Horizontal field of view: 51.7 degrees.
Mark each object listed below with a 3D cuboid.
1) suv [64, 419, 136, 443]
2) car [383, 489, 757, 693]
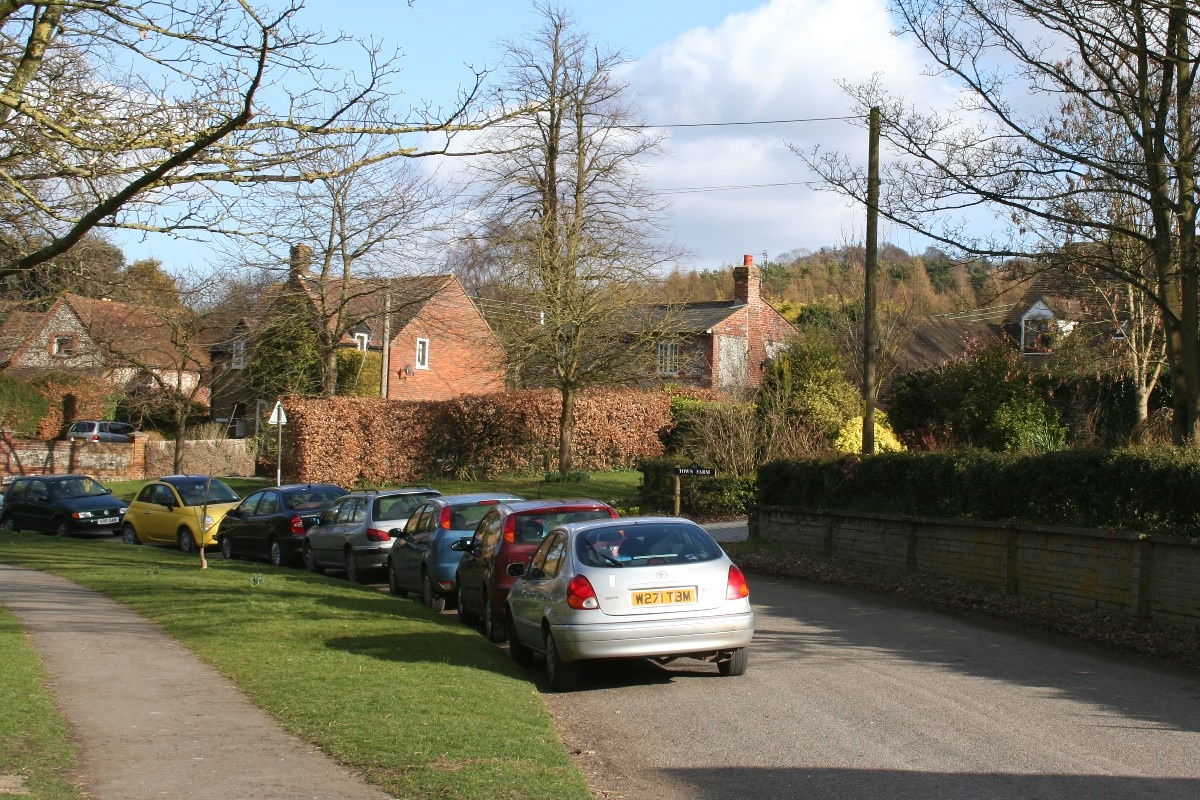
[{"bbox_3d":[-23.728,1.438,58.590,1.908,0.931,0.971,-2,2,-36],"label":"suv"},{"bbox_3d":[0.405,2.682,16.220,3.155,2.211,1.596,1,4,8],"label":"car"}]
